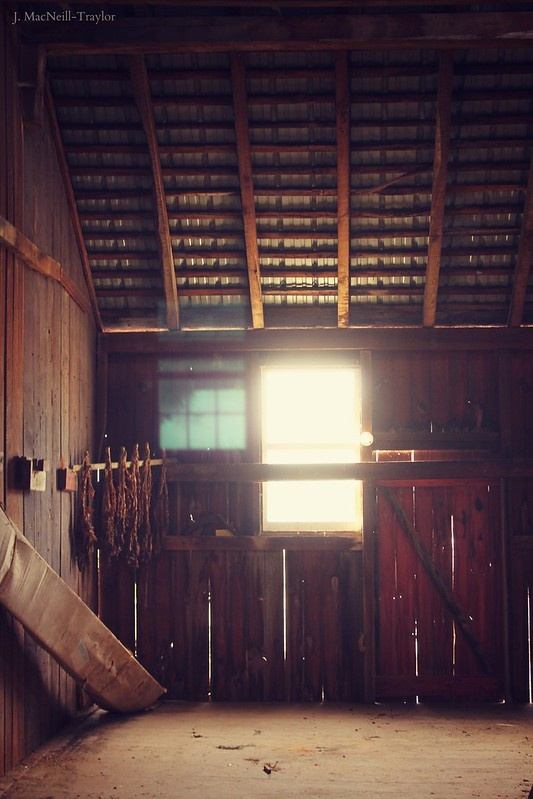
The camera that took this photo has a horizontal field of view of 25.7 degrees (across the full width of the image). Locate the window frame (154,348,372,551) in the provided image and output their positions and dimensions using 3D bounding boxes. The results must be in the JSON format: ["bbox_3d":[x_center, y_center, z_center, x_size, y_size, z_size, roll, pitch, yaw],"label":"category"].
[{"bbox_3d":[-0.001,0.461,9.281,1.177,1.328,0.141,0,-7,-1],"label":"window frame"}]

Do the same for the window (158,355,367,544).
[{"bbox_3d":[-0.009,0.459,9.289,1.097,1.244,0.156,0,-6,-1],"label":"window"}]
